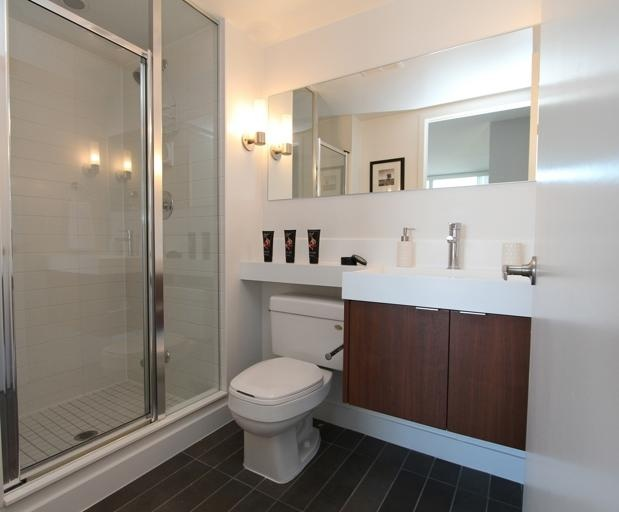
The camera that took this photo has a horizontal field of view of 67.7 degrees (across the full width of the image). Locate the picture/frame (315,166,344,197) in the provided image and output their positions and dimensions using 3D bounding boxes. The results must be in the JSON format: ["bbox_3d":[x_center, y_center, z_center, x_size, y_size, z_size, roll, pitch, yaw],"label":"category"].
[{"bbox_3d":[0.121,-0.426,2.615,0.155,0.206,0.014,3,4,33],"label":"picture/frame"}]

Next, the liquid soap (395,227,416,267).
[{"bbox_3d":[0.490,-0.041,2.285,0.096,0.187,0.086,-4,9,-28],"label":"liquid soap"}]

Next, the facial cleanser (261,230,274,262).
[{"bbox_3d":[-0.242,-0.060,2.746,0.053,0.178,0.064,-2,8,-14],"label":"facial cleanser"}]

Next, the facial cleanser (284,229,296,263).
[{"bbox_3d":[-0.111,-0.059,2.694,0.060,0.185,0.112,-1,8,-8],"label":"facial cleanser"}]

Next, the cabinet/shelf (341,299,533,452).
[{"bbox_3d":[0.519,0.493,2.061,0.769,0.557,0.430,10,-19,-4],"label":"cabinet/shelf"}]

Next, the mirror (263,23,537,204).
[{"bbox_3d":[0.363,-0.564,2.488,1.625,0.840,0.008,-1,2,40],"label":"mirror"}]

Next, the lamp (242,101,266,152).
[{"bbox_3d":[-0.320,-0.770,2.760,0.137,0.292,0.203,1,8,5],"label":"lamp"}]

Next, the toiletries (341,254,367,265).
[{"bbox_3d":[0.232,0.025,2.451,0.092,0.046,0.064,-1,-4,24],"label":"toiletries"}]

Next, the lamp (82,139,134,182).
[{"bbox_3d":[-0.880,-0.414,1.999,0.059,0.143,0.203,0,1,25],"label":"lamp"}]

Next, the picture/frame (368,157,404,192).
[{"bbox_3d":[0.407,-0.413,2.434,0.176,0.193,0.016,-3,-17,18],"label":"picture/frame"}]

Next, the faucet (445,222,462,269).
[{"bbox_3d":[0.697,-0.050,2.204,0.070,0.217,0.106,3,8,17],"label":"faucet"}]

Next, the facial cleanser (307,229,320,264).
[{"bbox_3d":[0.026,-0.059,2.605,0.062,0.185,0.093,0,8,-3],"label":"facial cleanser"}]

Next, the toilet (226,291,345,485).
[{"bbox_3d":[-0.121,0.622,2.260,0.425,0.760,0.653,6,9,32],"label":"toilet"}]
